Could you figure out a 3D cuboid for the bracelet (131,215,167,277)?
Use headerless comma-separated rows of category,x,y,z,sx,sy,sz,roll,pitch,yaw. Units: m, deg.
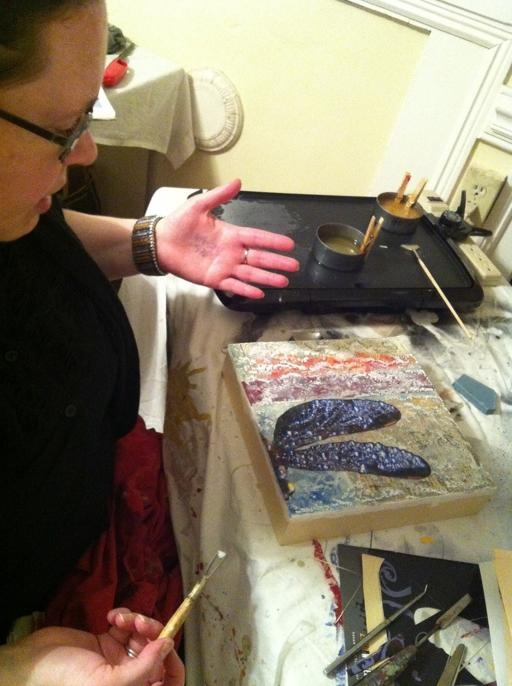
bracelet,-0.202,-0.180,0.930,0.084,0.089,0.089,-3,2,0
